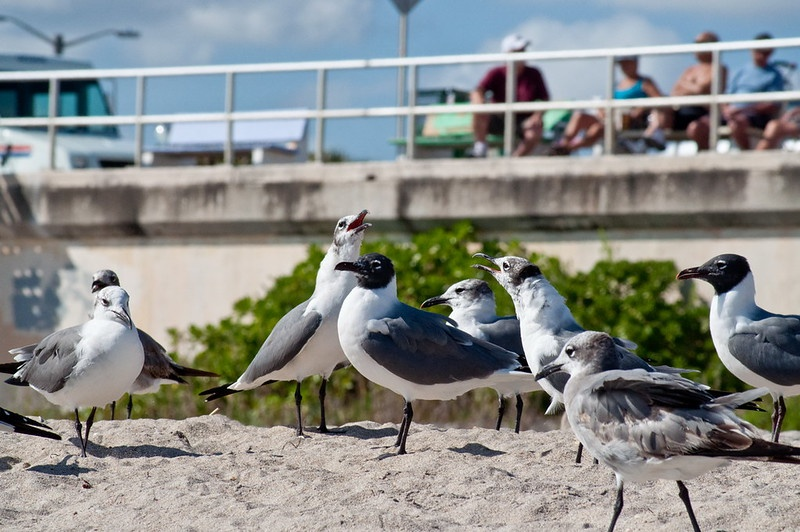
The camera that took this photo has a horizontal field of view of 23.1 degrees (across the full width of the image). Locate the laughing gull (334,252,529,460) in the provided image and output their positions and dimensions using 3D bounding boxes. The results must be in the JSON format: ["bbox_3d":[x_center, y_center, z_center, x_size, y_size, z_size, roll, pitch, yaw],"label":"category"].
[{"bbox_3d":[0.485,1.099,24.150,2.667,2.330,1.443,1,5,-16],"label":"laughing gull"}]

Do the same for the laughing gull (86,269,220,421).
[{"bbox_3d":[-3.201,1.199,25.247,1.757,1.557,0.560,8,-9,-14],"label":"laughing gull"}]

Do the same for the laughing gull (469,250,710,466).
[{"bbox_3d":[2.366,1.201,23.574,3.161,2.834,1.159,-1,-2,10],"label":"laughing gull"}]

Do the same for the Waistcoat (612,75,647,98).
[{"bbox_3d":[3.217,-2.518,27.798,0.366,0.250,0.286,3,1,21],"label":"Waistcoat"}]

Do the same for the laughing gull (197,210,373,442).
[{"bbox_3d":[-1.431,0.931,24.912,3.108,2.752,1.386,-8,-1,32],"label":"laughing gull"}]

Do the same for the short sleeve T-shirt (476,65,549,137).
[{"bbox_3d":[1.594,-2.336,28.111,1.022,1.032,0.317,0,5,3],"label":"short sleeve T-shirt"}]
